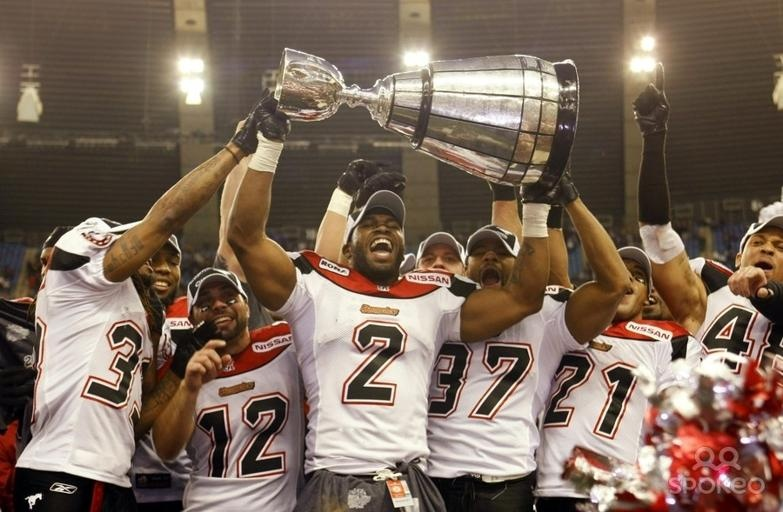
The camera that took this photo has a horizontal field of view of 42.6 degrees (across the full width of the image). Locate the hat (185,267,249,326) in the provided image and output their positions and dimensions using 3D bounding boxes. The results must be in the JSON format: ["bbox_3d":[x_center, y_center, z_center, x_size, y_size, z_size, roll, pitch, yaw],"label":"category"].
[{"bbox_3d":[-1.871,0.343,10.310,0.625,0.479,1.027,-6,-16,-21],"label":"hat"}]

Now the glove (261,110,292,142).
[{"bbox_3d":[-1.101,-1.288,9.667,0.227,0.304,0.261,6,21,-3],"label":"glove"}]

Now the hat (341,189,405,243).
[{"bbox_3d":[-0.079,-0.391,10.325,0.454,0.577,0.855,0,-1,4],"label":"hat"}]

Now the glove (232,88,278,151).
[{"bbox_3d":[-1.320,-1.263,9.646,0.212,0.584,0.423,38,37,0],"label":"glove"}]
